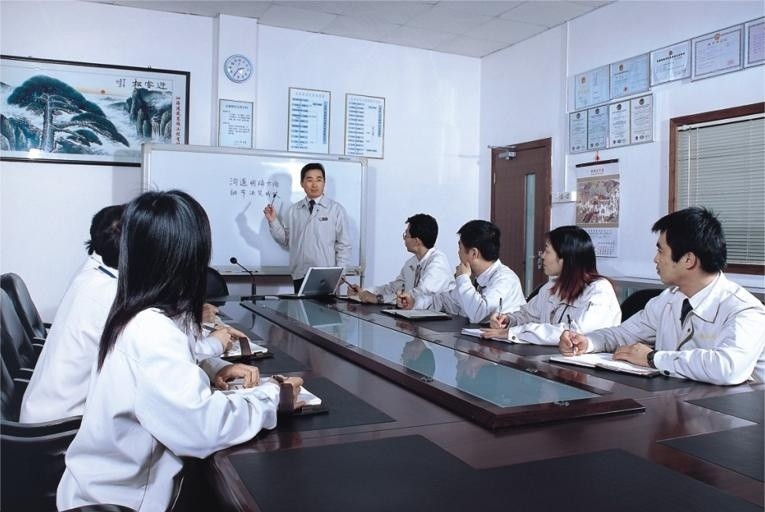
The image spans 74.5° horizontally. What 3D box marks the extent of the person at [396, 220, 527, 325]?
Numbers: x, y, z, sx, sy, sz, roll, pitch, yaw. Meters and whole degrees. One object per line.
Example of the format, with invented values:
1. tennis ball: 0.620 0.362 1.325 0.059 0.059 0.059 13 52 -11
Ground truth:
1. person: 0.466 0.085 3.552 0.786 1.061 0.658 2 -1 -2

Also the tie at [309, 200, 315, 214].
1. tie: -0.657 -0.474 4.682 0.070 0.097 0.026 3 -3 33

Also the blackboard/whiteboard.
1. blackboard/whiteboard: -1.004 -0.404 4.037 1.355 0.737 0.087 -1 3 -18

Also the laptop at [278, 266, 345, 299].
1. laptop: -0.461 0.193 3.739 0.294 0.175 0.282 1 2 -45

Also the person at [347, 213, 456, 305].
1. person: 0.122 0.083 3.894 0.693 0.683 0.820 4 -6 -9

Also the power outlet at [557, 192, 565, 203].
1. power outlet: 1.732 -0.582 4.907 0.066 0.075 0.081 0 -4 -1

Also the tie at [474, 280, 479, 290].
1. tie: 0.632 0.182 3.411 0.040 0.052 0.031 -6 1 10

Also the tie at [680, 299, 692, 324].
1. tie: 1.278 0.223 2.126 0.034 0.077 0.060 6 -2 20

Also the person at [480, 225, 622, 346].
1. person: 0.963 0.194 2.767 0.751 0.673 0.775 0 1 13
